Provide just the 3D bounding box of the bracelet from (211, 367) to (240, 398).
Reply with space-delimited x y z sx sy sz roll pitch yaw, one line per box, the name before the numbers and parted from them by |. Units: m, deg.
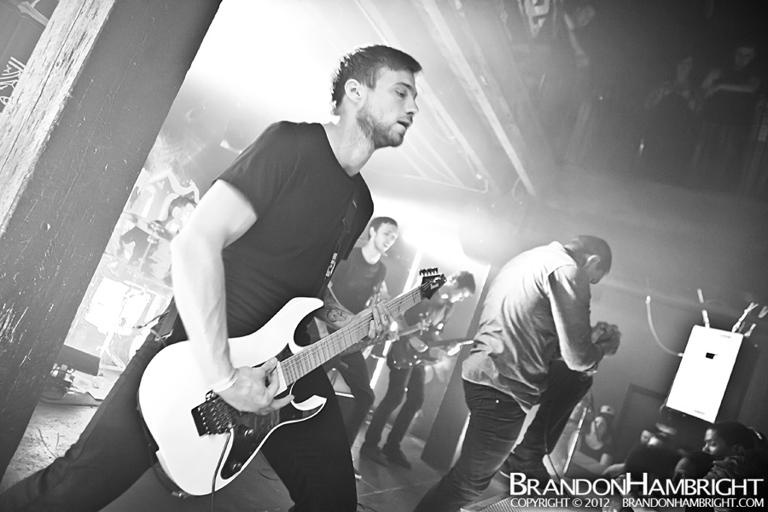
bracelet | -0.757 0.609 2.294 0.115 0.030 0.123 -33 3 17
